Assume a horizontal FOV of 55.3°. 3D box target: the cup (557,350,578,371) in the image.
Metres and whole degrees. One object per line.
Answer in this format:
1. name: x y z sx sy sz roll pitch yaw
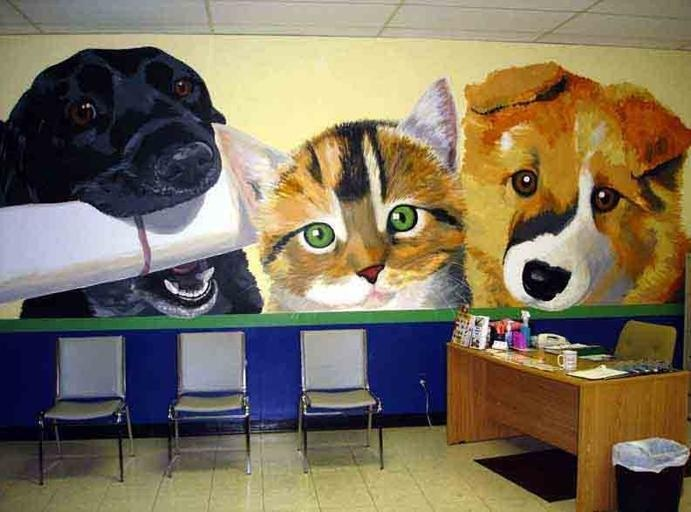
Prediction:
1. cup: 1.815 0.853 5.480 0.186 0.174 0.119 -1 2 9

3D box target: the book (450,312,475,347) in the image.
1. book: 1.135 0.706 6.362 0.040 0.303 0.294 17 -12 -21

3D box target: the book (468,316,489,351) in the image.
1. book: 1.246 0.718 6.132 0.081 0.279 0.191 9 -12 -38
